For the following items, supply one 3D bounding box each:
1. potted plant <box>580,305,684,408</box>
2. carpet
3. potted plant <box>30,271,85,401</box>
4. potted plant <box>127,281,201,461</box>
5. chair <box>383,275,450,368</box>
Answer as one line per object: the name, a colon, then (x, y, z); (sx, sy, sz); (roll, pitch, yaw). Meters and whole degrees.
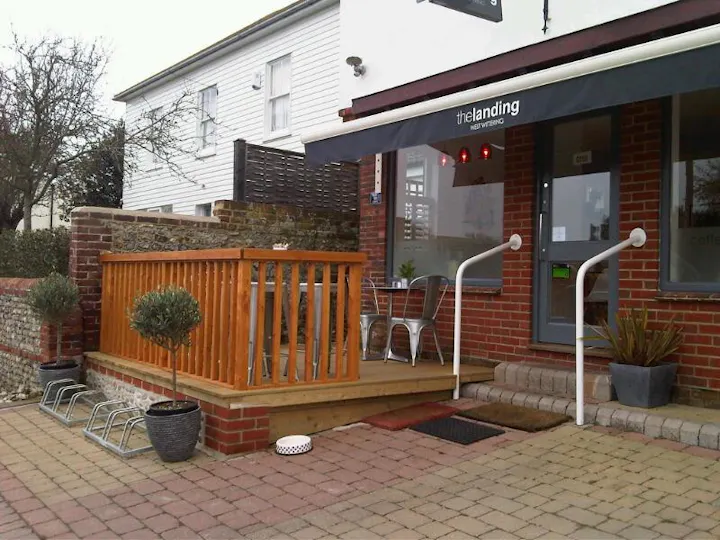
potted plant: (3.163, 0.979, 6.311); (0.704, 1.028, 0.604); (-8, 11, -36)
carpet: (1.231, 1.671, 6.333); (1.938, 0.119, 1.363); (4, 10, 31)
potted plant: (-4.182, 0.843, 7.768); (0.610, 1.525, 0.834); (-5, 9, -20)
potted plant: (-1.948, 1.008, 5.791); (0.670, 1.656, 1.062); (-4, 9, -17)
chair: (0.829, 0.701, 7.903); (0.860, 1.227, 0.790); (-5, -7, 40)
